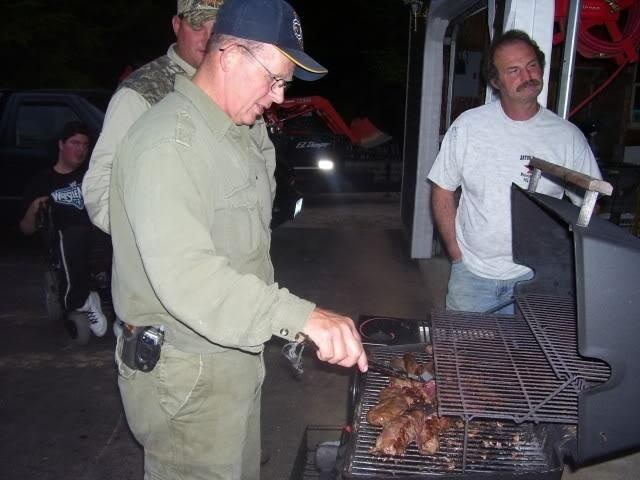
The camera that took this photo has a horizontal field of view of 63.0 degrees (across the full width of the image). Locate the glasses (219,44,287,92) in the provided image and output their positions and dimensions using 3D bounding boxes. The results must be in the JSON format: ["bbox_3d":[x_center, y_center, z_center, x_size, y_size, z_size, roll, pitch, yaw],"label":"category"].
[{"bbox_3d":[-0.284,-0.791,2.374,0.247,0.186,0.169,12,24,25],"label":"glasses"}]

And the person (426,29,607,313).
[{"bbox_3d":[1.451,-0.032,3.916,1.211,2.846,0.749,8,33,21],"label":"person"}]

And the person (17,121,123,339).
[{"bbox_3d":[-2.445,-0.061,5.238,0.585,2.114,0.972,-8,1,34],"label":"person"}]
